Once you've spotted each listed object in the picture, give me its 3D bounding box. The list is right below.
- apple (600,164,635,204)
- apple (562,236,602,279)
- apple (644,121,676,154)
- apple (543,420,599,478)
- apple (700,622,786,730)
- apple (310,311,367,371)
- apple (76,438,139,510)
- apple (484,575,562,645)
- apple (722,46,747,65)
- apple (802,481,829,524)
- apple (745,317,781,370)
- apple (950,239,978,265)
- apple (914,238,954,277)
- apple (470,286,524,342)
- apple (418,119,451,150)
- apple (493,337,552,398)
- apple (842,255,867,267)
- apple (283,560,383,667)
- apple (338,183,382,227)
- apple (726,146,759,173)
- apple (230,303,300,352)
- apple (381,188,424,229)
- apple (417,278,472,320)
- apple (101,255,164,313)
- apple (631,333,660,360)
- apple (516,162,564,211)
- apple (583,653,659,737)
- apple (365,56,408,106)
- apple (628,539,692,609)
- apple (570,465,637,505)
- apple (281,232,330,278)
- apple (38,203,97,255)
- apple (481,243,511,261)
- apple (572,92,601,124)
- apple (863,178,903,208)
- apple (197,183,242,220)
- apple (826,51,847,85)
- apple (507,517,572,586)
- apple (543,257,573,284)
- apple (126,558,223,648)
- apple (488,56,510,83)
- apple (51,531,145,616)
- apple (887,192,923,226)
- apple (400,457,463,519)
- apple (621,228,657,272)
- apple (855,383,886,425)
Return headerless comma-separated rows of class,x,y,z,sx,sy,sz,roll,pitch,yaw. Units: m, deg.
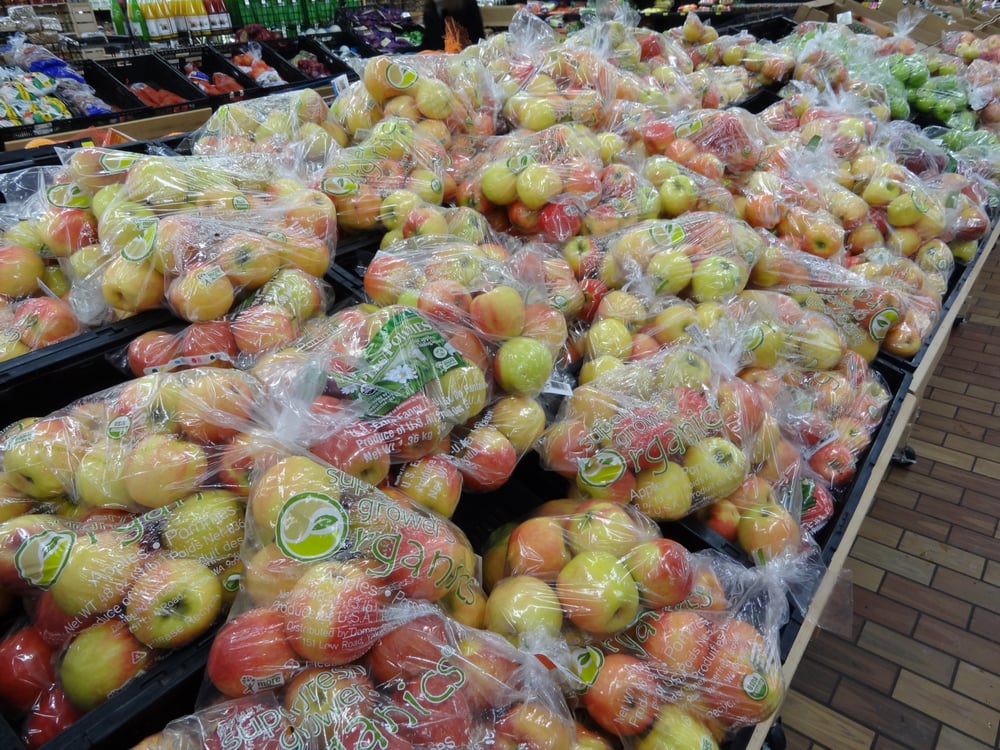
apple,0.378,-0.628,2.124,0.106,0.119,0.111,-8,44,-22
apple,0.244,-0.357,1.998,0.111,0.139,0.119,0,67,0
apple,0.572,-0.879,2.378,0.104,0.056,0.113,3,81,-1
apple,0.164,0.148,1.507,0.106,0.128,0.073,29,12,12
apple,0.456,0.574,1.315,0.146,0.156,0.210,-14,87,-3
apple,-0.327,-0.065,1.447,0.110,0.056,0.145,0,48,46
apple,-0.729,0.195,1.262,0.104,0.070,0.128,-32,87,-5
apple,0.037,0.477,1.272,0.135,0.134,0.146,-2,75,13
apple,1.166,-1.634,3.252,0.093,0.097,0.093,-34,26,-30
apple,0.819,0.327,1.691,0.082,0.031,0.099,-7,90,-26
apple,0.719,-0.087,1.771,0.112,0.120,0.137,5,46,15
apple,1.830,-0.512,2.579,0.081,0.070,0.069,27,22,-25
apple,1.618,-0.458,2.455,0.130,0.147,0.142,20,20,35
apple,-0.002,-0.152,1.569,0.116,0.121,0.119,-19,20,8
apple,-0.208,-0.838,2.173,0.106,0.064,0.086,40,28,0
apple,0.055,-0.025,1.560,0.121,0.150,0.127,-13,22,-20
apple,1.225,-0.413,2.259,0.063,0.045,0.075,-2,6,2
apple,-0.295,0.414,1.152,0.187,0.179,0.188,8,73,-15
apple,-0.421,-0.516,1.962,0.115,0.112,0.114,19,26,4
apple,0.858,-0.784,2.305,0.096,0.085,0.082,7,19,-26
apple,-0.544,-0.110,1.523,0.124,0.079,0.104,-10,76,-2
apple,-0.310,-0.530,1.991,0.116,0.123,0.141,32,34,34
apple,-0.117,-0.188,1.526,0.097,0.056,0.087,4,67,-6
apple,-0.878,-0.235,1.567,0.090,0.102,0.089,40,71,-24
apple,0.377,-0.087,1.741,0.064,0.066,0.078,5,40,-4
apple,0.119,-0.578,1.987,0.126,0.124,0.132,23,39,-26
apple,0.223,0.583,1.223,0.108,0.081,0.151,-10,79,-9
apple,-0.377,-0.997,2.179,0.067,0.133,0.128,-8,38,-46
apple,0.314,0.385,1.279,0.127,0.077,0.117,-9,49,-12
apple,0.223,0.245,1.458,0.086,0.092,0.085,-26,92,17
apple,-0.492,-0.319,1.658,0.119,0.102,0.096,17,2,-26
apple,-1.170,-0.398,1.724,0.091,0.089,0.091,17,29,28
apple,-0.011,-0.350,1.776,0.054,0.041,0.072,19,6,24
apple,0.303,-0.977,2.309,0.083,0.085,0.079,32,15,-15
apple,1.400,-0.693,2.387,0.124,0.106,0.107,4,56,13
apple,-0.705,-0.455,1.654,0.075,0.059,0.104,5,13,-2
apple,1.620,-1.520,3.152,0.055,0.167,0.174,-9,81,26
apple,0.082,0.352,1.322,0.103,0.109,0.111,-15,80,3
apple,0.155,-0.297,1.833,0.076,0.048,0.066,33,59,3
apple,-0.573,0.404,1.148,0.150,0.151,0.155,-5,72,-19
apple,0.002,-1.220,2.526,0.059,0.099,0.102,10,69,-16
apple,-0.707,0.360,1.158,0.119,0.083,0.134,22,50,16
apple,1.456,-0.611,2.368,0.123,0.109,0.112,-2,64,23
apple,-0.136,0.224,1.374,0.139,0.136,0.136,4,91,10
apple,0.402,-0.384,1.920,0.099,0.128,0.103,4,14,-10
apple,1.123,0.072,1.966,0.088,0.049,0.146,11,60,21
